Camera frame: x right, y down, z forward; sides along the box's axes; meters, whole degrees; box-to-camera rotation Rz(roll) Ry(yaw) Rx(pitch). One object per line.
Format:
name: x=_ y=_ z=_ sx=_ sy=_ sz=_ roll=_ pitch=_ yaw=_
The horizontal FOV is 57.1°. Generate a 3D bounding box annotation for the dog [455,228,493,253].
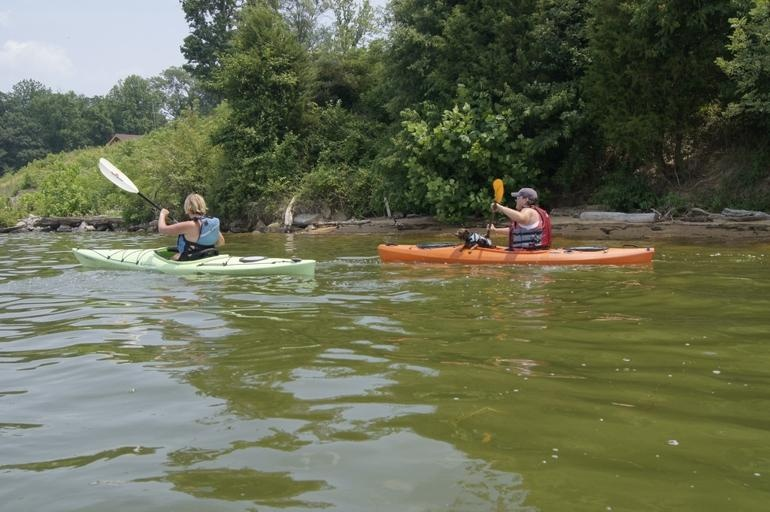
dog: x=1.675 y=-0.302 z=12.744 sx=0.800 sy=0.256 sz=0.352 roll=1 pitch=0 yaw=-11

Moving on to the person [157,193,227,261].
person: x=-3.255 y=-0.468 z=11.707 sx=0.837 sy=1.082 sz=1.028 roll=-4 pitch=3 yaw=-4
